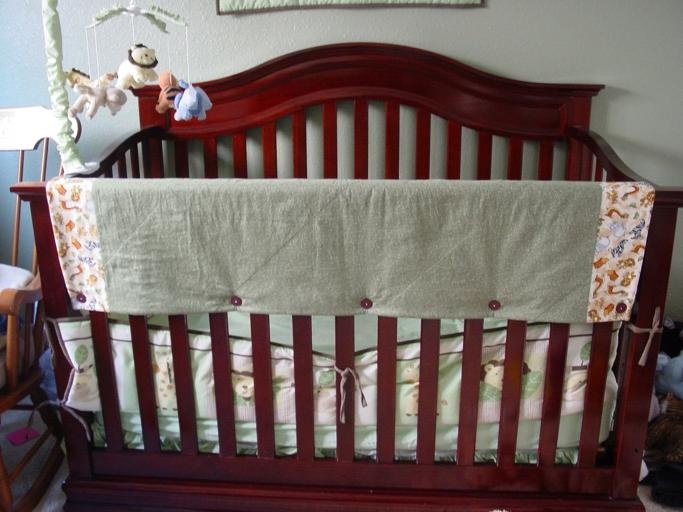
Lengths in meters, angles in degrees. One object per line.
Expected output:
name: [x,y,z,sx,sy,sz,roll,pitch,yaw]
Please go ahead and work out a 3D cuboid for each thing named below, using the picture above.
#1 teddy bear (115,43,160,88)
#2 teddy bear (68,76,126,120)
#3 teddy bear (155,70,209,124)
teddy bear: [-0.659,-0.615,2.226,0.096,0.136,0.150,-12,12,-44]
teddy bear: [-0.784,-0.514,2.216,0.164,0.136,0.076,-7,33,-40]
teddy bear: [-0.504,-0.507,2.171,0.105,0.142,0.232,-13,20,-35]
